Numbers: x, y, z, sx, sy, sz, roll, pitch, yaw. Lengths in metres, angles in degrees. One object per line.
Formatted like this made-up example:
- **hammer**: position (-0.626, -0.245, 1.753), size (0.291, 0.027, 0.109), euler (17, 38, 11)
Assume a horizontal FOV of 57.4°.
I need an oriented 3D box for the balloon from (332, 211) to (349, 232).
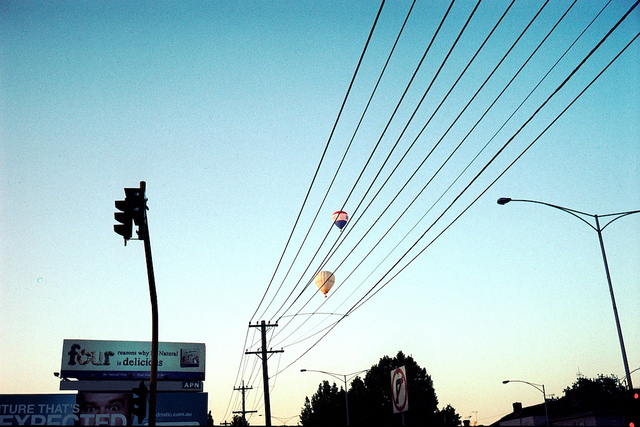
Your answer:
- **balloon**: position (1.535, 0.399, 43.131), size (1.229, 1.805, 1.339), euler (-2, -25, -3)
